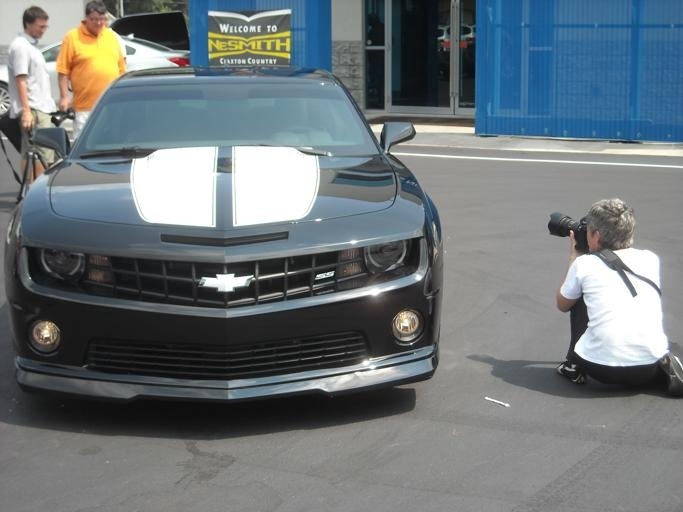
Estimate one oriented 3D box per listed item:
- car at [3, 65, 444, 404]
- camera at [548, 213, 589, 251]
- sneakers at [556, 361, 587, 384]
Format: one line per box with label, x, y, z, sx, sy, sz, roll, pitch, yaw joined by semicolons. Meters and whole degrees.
car;-0.646;-0.081;4.832;1.644;1.061;2.666;-1;11;-3
camera;1.486;-0.161;5.064;0.198;0.194;0.314;-9;16;-38
sneakers;1.385;0.696;4.789;0.067;0.088;0.205;-5;14;-16
